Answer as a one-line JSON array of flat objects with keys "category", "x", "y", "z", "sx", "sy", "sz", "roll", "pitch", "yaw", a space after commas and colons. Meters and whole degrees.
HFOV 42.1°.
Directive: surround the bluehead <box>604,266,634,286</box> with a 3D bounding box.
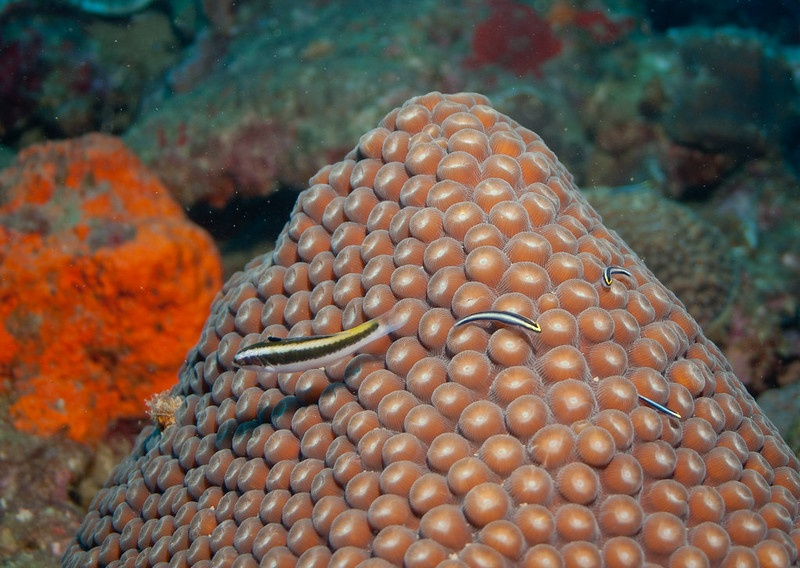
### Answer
[{"category": "bluehead", "x": 1.543, "y": -0.081, "z": 7.349, "sx": 0.057, "sy": 0.220, "sz": 0.129, "roll": -37, "pitch": 78, "yaw": 26}]
